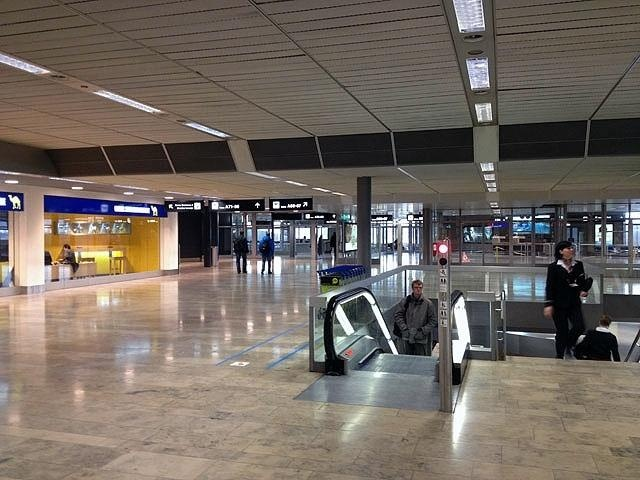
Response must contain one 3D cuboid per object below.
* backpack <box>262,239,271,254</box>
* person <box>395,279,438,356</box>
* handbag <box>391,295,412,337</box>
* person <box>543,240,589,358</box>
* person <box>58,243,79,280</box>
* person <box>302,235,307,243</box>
[{"bbox_3d":[-2.844,0.321,22.854,0.562,0.755,0.495,-2,2,-15],"label":"backpack"},{"bbox_3d":[1.832,1.512,8.324,0.800,1.569,0.917,-1,2,10],"label":"person"},{"bbox_3d":[1.518,1.477,8.145,0.332,0.670,0.527,7,13,12],"label":"handbag"},{"bbox_3d":[4.061,0.984,7.109,0.878,1.921,0.482,-3,2,-31],"label":"person"},{"bbox_3d":[-10.239,0.869,17.557,0.400,1.375,0.979,-1,2,5],"label":"person"},{"bbox_3d":[-1.495,-0.080,41.650,0.688,0.495,0.904,8,-28,3],"label":"person"}]
